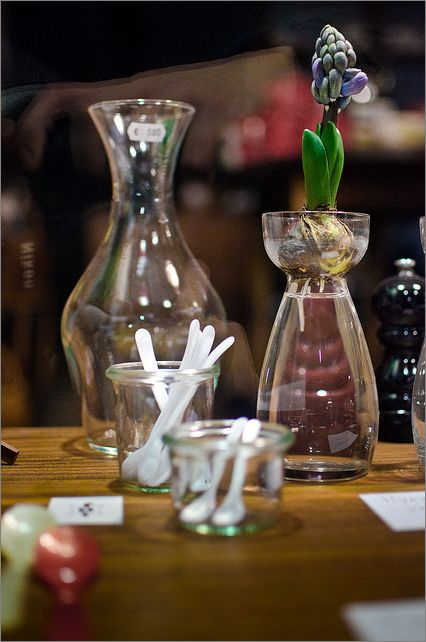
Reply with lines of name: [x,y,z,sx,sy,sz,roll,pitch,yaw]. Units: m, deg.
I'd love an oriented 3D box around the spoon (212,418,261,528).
spoon: [0.015,0.093,0.397,0.023,0.068,0.011,11,-4,-32]

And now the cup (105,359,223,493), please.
cup: [-0.060,0.084,0.541,0.103,0.096,0.099,0,-1,0]

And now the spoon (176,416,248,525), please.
spoon: [0.000,0.095,0.407,0.023,0.093,0.015,18,29,-5]

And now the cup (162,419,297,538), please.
cup: [0.019,0.094,0.389,0.078,0.049,0.072,0,-3,0]
